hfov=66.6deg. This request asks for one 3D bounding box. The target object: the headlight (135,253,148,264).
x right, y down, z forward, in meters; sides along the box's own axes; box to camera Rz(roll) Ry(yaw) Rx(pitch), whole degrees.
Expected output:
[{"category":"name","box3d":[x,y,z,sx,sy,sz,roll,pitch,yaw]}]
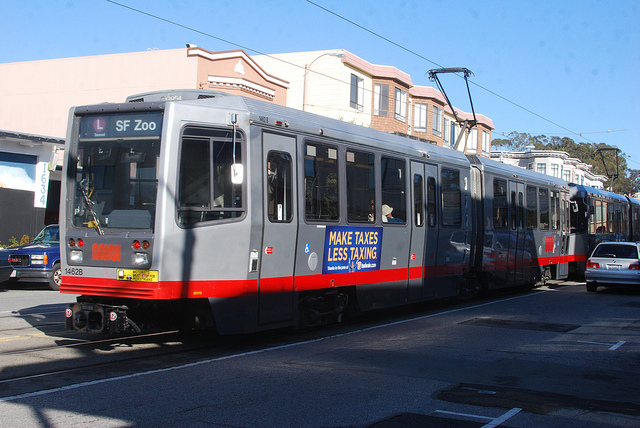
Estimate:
[{"category":"headlight","box3d":[-3.075,0.773,8.461,0.259,0.232,0.144,0,-4,-1]}]

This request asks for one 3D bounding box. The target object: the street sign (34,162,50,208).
[{"category":"street sign","box3d":[-15.554,-1.645,27.214,0.664,2.590,0.505,2,-2,-31]}]
